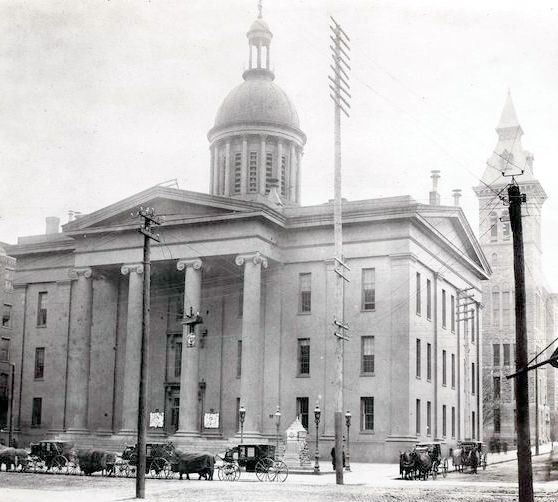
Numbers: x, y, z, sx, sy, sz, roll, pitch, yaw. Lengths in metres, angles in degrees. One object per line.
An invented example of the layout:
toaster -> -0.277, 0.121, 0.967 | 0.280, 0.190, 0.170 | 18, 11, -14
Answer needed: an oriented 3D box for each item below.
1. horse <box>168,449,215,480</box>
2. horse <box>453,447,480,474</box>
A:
horse -> -4.191, 10.543, 55.989 | 2.061, 1.516, 1.532 | 2, -19, -4
horse -> 10.586, 11.832, 65.052 | 1.277, 1.502, 1.670 | 0, -11, 11
